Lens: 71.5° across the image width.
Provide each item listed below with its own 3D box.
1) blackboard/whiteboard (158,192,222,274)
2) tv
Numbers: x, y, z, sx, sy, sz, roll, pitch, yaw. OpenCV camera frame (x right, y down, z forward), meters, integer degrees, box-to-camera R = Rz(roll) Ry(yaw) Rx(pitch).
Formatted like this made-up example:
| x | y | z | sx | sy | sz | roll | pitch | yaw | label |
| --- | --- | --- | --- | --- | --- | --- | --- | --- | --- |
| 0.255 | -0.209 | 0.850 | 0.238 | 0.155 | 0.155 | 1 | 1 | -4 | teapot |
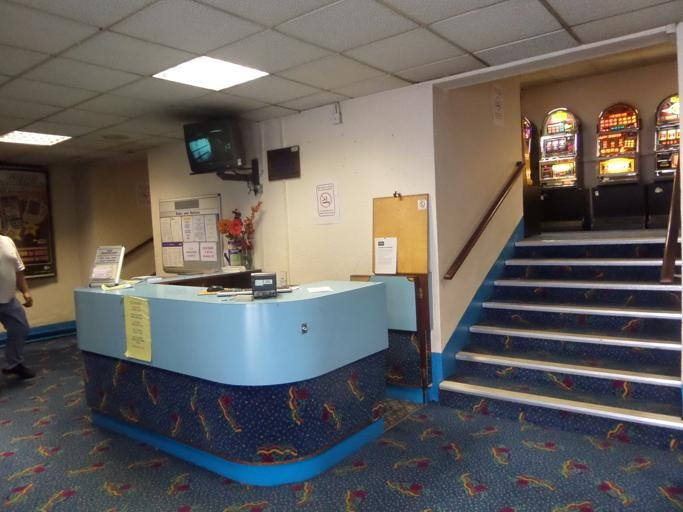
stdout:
| x | y | z | sx | sy | sz | roll | pitch | yaw | label |
| --- | --- | --- | --- | --- | --- | --- | --- | --- | --- |
| -2.308 | -0.322 | 7.289 | 0.948 | 0.837 | 0.097 | -5 | 7 | -29 | blackboard/whiteboard |
| -1.534 | -1.362 | 5.778 | 0.658 | 0.562 | 0.345 | -4 | 13 | 25 | tv |
